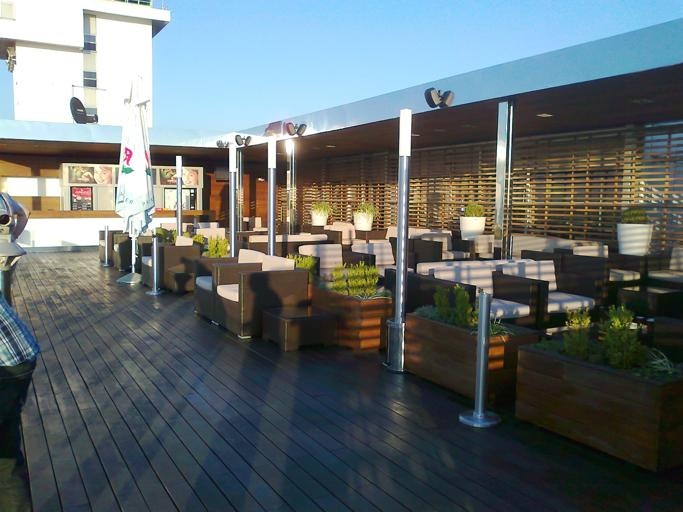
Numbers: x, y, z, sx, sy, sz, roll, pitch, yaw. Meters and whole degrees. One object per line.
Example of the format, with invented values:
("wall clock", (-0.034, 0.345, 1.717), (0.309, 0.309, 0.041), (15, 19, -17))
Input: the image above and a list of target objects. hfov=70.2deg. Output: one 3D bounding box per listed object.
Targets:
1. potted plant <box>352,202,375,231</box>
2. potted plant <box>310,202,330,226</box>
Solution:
("potted plant", (0.680, -1.226, 14.601), (0.748, 0.807, 0.776), (4, 6, 3))
("potted plant", (-0.811, -1.460, 16.419), (0.778, 0.820, 0.781), (1, 3, -24))
